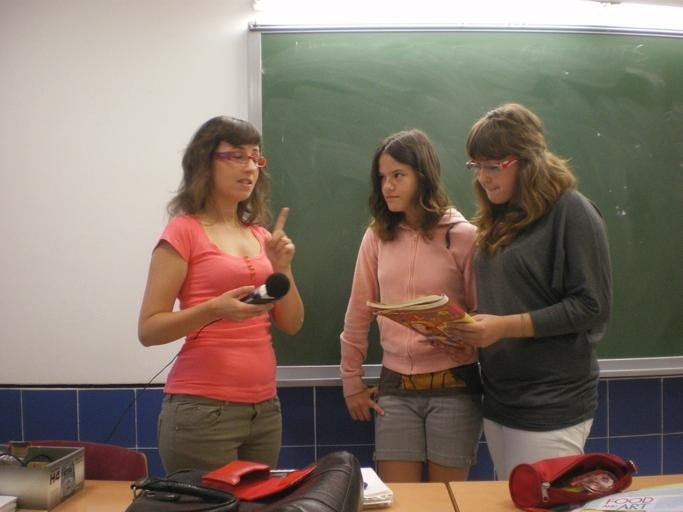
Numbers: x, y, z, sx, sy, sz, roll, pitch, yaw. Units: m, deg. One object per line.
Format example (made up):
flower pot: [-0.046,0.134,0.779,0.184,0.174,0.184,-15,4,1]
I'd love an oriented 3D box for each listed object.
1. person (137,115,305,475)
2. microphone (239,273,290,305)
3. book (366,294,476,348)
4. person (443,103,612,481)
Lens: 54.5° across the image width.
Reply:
person: [-0.468,0.148,2.729,0.723,1.452,0.559,-8,10,-35]
microphone: [-0.299,0.130,2.614,0.189,0.074,0.098,-24,-10,30]
book: [0.322,0.281,2.757,0.416,0.292,0.332,-2,8,2]
person: [0.817,0.166,2.816,0.602,1.629,0.478,1,9,20]
